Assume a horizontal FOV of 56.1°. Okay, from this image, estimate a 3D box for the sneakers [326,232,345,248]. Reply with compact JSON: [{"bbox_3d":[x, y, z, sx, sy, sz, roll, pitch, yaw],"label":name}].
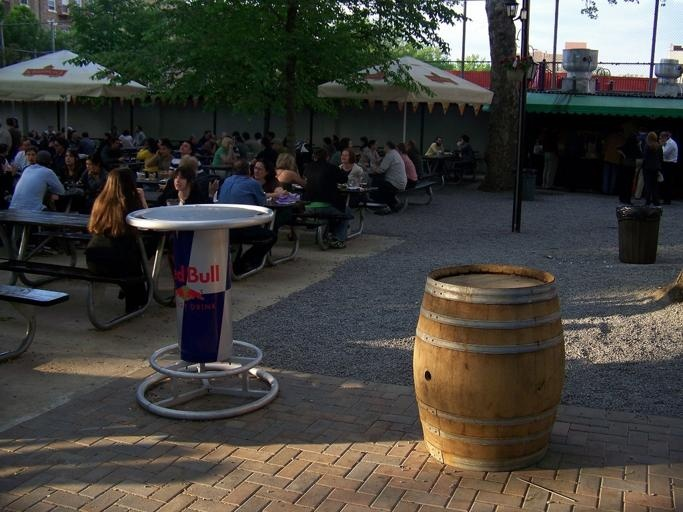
[{"bbox_3d":[-0.107,-0.283,11.547,0.381,0.241,0.191,3,20,16],"label":"sneakers"}]
